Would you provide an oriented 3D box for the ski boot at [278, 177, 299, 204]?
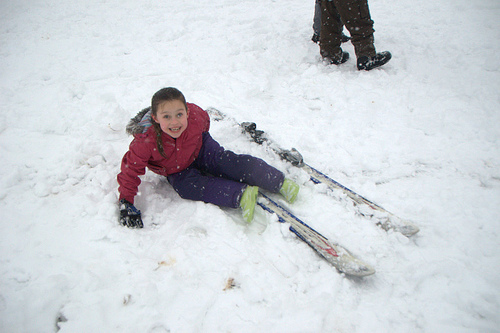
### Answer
[{"bbox_3d":[0.610,0.382,6.121,0.260,0.279,0.273,29,67,24],"label":"ski boot"}]
